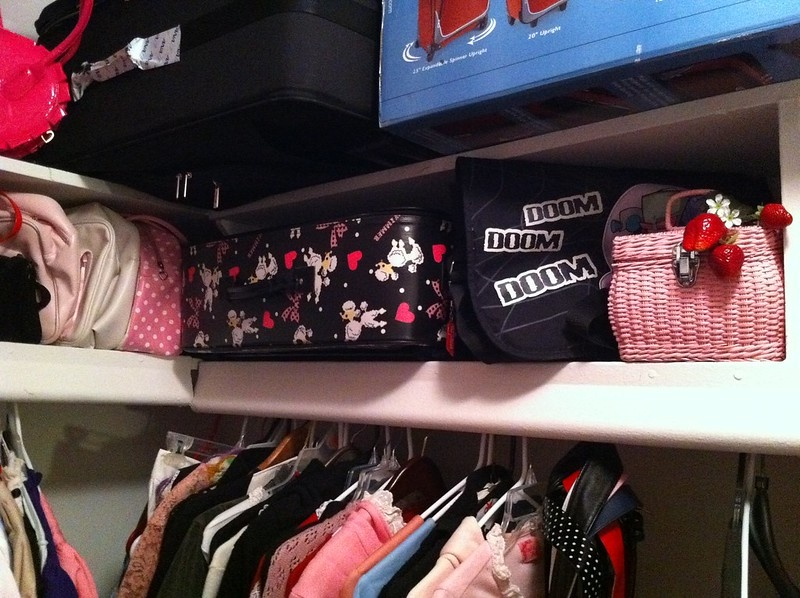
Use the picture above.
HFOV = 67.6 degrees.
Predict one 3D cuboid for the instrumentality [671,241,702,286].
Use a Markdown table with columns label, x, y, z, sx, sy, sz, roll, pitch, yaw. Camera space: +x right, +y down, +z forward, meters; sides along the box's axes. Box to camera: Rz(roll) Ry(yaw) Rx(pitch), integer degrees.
| label | x | y | z | sx | sy | sz | roll | pitch | yaw |
| --- | --- | --- | --- | --- | --- | --- | --- | --- | --- |
| instrumentality | 0.414 | -0.050 | 0.868 | 0.039 | 0.058 | 0.019 | 3 | 0 | 25 |
